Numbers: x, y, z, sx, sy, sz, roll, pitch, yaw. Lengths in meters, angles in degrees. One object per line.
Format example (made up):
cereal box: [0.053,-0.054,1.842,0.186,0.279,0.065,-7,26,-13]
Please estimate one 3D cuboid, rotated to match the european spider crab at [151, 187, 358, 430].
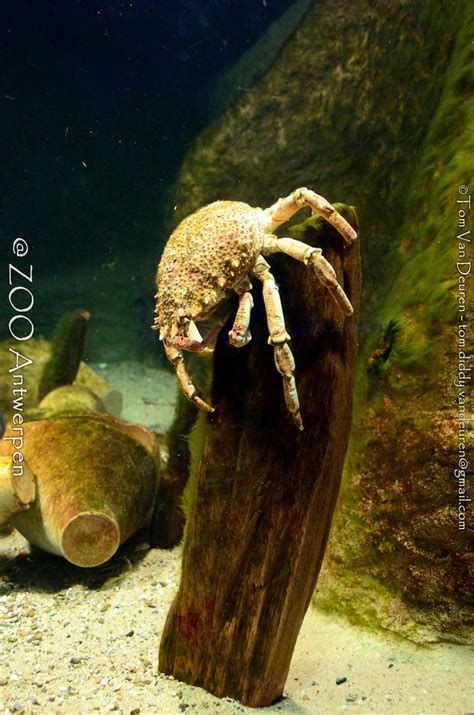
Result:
european spider crab: [0.113,-0.279,2.157,0.420,0.551,0.735,45,25,-31]
